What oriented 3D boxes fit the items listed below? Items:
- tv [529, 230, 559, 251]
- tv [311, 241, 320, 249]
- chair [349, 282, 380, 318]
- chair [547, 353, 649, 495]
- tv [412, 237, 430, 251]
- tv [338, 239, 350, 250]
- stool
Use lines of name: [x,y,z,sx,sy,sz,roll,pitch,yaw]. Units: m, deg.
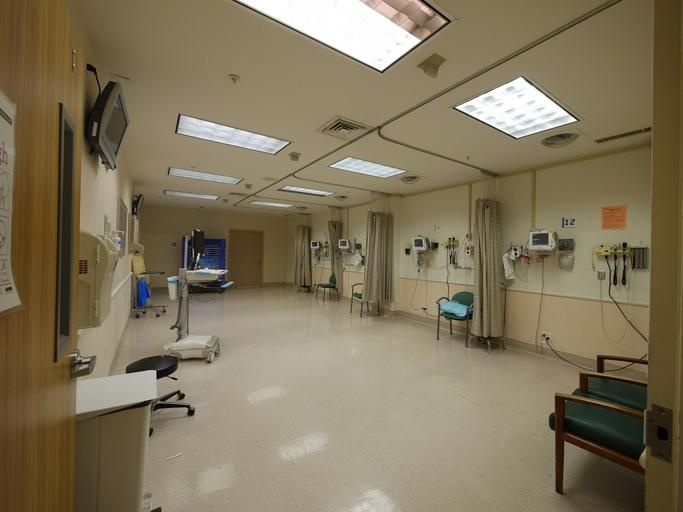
tv: [2.290,-0.176,5.197,0.189,0.341,0.325,9,-6,-31]
tv: [-0.601,-0.292,10.652,0.241,0.239,0.135,4,7,40]
chair: [0.397,0.767,8.171,0.410,0.824,0.526,-6,-10,45]
chair: [1.852,1.234,3.266,0.510,0.536,0.973,-3,-1,35]
tv: [1.220,-0.177,6.988,0.166,0.250,0.255,-3,1,-30]
tv: [0.048,-0.218,9.082,0.173,0.182,0.191,1,-3,7]
stool: [-1.492,1.056,3.852,0.540,0.592,0.599,0,6,11]
